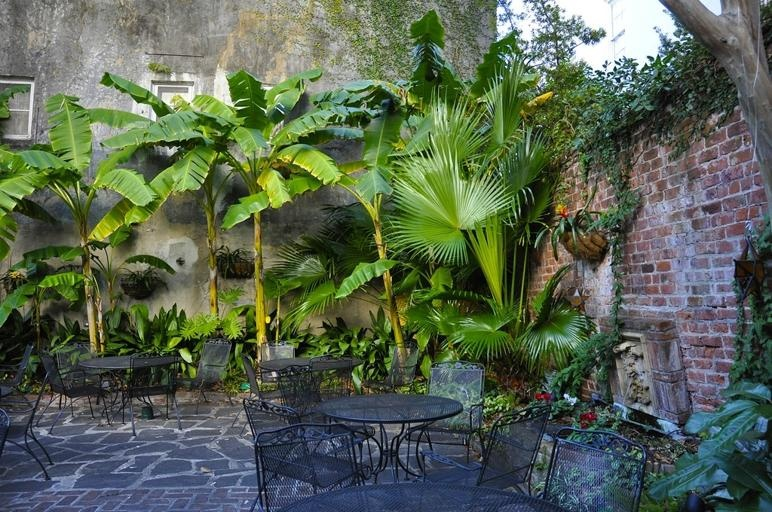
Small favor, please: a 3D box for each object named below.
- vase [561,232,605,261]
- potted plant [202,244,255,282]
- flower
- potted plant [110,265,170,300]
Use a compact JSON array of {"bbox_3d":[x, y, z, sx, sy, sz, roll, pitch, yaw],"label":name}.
[{"bbox_3d":[2.406,-0.116,7.352,0.394,0.378,0.613,2,-8,-20],"label":"vase"},{"bbox_3d":[-2.716,0.134,10.593,0.588,0.427,0.610,0,-8,-1],"label":"potted plant"},{"bbox_3d":[2.289,-0.348,7.561,0.860,0.591,0.885,-22,-3,-15],"label":"flower"},{"bbox_3d":[-4.357,0.412,10.581,0.643,0.571,0.724,11,16,27],"label":"potted plant"}]
